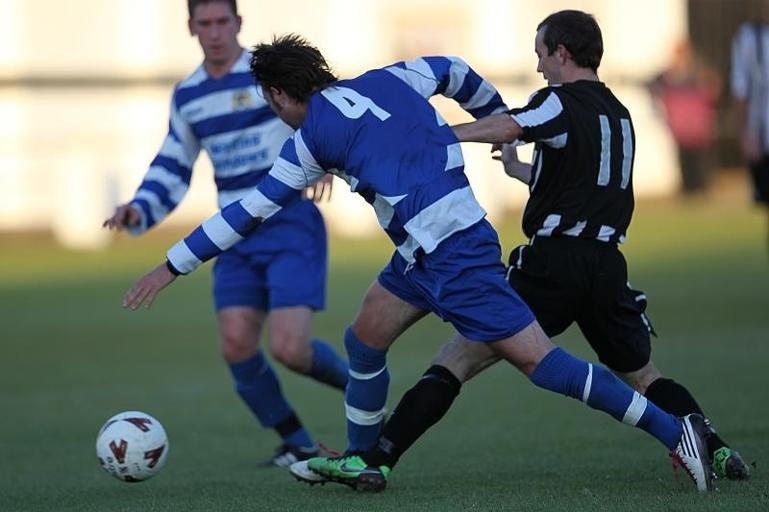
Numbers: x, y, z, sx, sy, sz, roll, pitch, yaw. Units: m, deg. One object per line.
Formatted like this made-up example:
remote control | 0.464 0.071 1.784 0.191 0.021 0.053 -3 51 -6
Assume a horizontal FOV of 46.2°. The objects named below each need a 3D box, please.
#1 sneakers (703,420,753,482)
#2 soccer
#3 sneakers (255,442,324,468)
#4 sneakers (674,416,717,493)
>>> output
sneakers | 2.229 1.294 5.854 0.176 0.238 0.547 -21 -40 16
soccer | -1.670 1.215 6.084 0.432 0.459 0.443 6 29 11
sneakers | -0.695 1.492 6.709 0.530 0.248 0.188 -1 -4 4
sneakers | 1.967 1.250 5.705 0.229 0.542 0.178 -15 -3 4
